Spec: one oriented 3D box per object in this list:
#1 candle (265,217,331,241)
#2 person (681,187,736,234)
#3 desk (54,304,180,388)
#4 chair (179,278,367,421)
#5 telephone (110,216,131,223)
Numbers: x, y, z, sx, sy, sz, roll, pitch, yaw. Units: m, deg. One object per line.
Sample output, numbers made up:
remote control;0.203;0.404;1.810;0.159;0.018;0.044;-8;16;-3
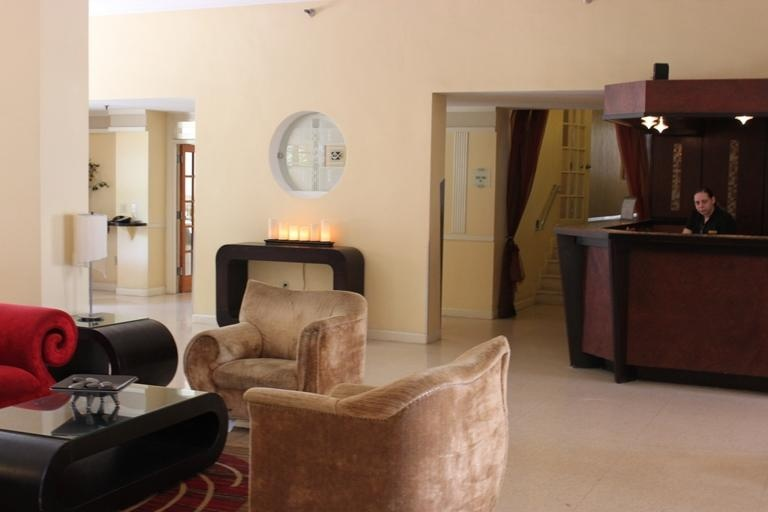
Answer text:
candle;-1.212;-0.362;8.316;0.986;0.273;0.323;4;8;25
person;3.991;-0.452;7.335;0.404;0.677;0.720;-3;6;-17
desk;-2.382;1.018;5.529;1.089;0.723;0.604;-3;0;40
chair;-0.852;0.732;5.325;1.434;1.427;1.172;0;-4;25
telephone;-4.623;-0.641;10.608;0.313;0.134;0.339;-5;9;-36
